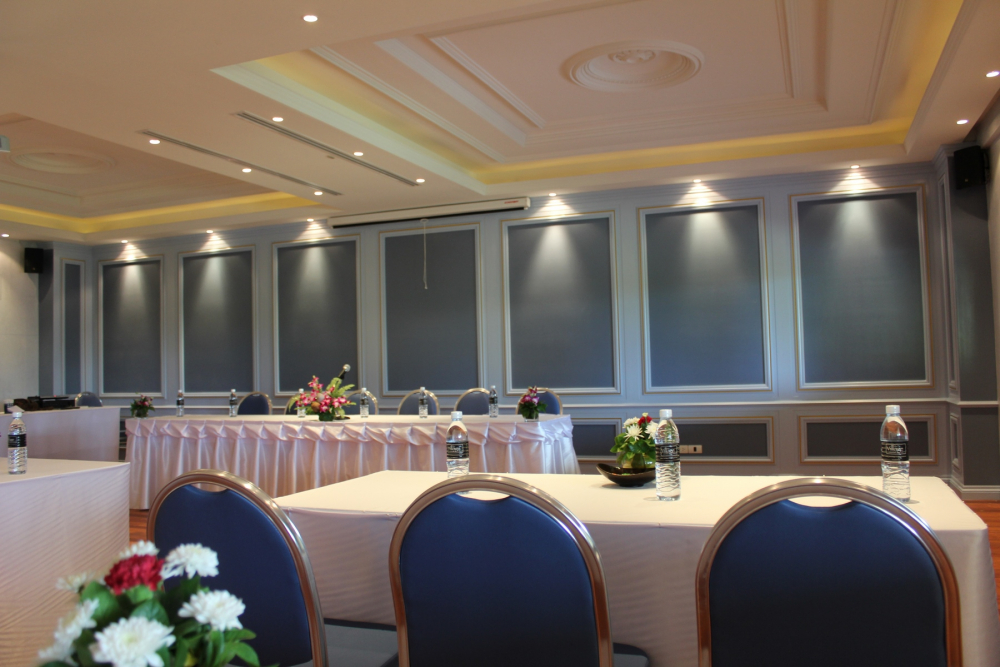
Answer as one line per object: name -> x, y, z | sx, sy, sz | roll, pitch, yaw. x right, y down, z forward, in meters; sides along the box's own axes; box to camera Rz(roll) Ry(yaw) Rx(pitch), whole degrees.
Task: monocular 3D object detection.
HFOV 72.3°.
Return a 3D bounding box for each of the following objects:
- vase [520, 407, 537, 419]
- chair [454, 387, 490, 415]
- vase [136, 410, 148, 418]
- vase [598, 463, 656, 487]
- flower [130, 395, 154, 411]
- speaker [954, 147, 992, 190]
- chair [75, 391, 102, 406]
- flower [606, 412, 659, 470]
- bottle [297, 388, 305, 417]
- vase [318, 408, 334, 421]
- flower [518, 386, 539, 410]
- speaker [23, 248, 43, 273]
vase -> 0.228, 0.631, 5.388 | 0.084, 0.069, 0.102 | 1, -6, -11
chair -> -0.234, 0.630, 6.385 | 0.238, 0.400, 0.252 | -2, -17, 10
vase -> -3.878, 0.864, 7.387 | 0.095, 0.048, 0.128 | 6, -9, -32
vase -> 0.562, 0.587, 2.874 | 0.146, 0.049, 0.124 | 0, 0, 36
flower -> -4.085, 0.789, 7.802 | 0.243, 0.229, 0.205 | 5, -11, -40
speaker -> 4.008, -1.418, 5.811 | 0.241, 0.333, 0.210 | -3, -4, 28
chair -> -4.815, 0.768, 7.989 | 0.267, 0.152, 0.262 | -3, -7, 15
flower -> 0.574, 0.460, 2.978 | 0.230, 0.225, 0.232 | -2, 0, 0
bottle -> -1.873, 0.652, 6.402 | 0.106, 0.099, 0.280 | 5, -34, -11
vase -> -1.484, 0.682, 5.829 | 0.106, 0.095, 0.099 | 2, 3, 14
flower -> 0.230, 0.529, 5.445 | 0.167, 0.197, 0.203 | 0, -4, -11
speaker -> -6.230, -0.995, 9.102 | 0.199, 0.324, 0.086 | 1, -4, -24
